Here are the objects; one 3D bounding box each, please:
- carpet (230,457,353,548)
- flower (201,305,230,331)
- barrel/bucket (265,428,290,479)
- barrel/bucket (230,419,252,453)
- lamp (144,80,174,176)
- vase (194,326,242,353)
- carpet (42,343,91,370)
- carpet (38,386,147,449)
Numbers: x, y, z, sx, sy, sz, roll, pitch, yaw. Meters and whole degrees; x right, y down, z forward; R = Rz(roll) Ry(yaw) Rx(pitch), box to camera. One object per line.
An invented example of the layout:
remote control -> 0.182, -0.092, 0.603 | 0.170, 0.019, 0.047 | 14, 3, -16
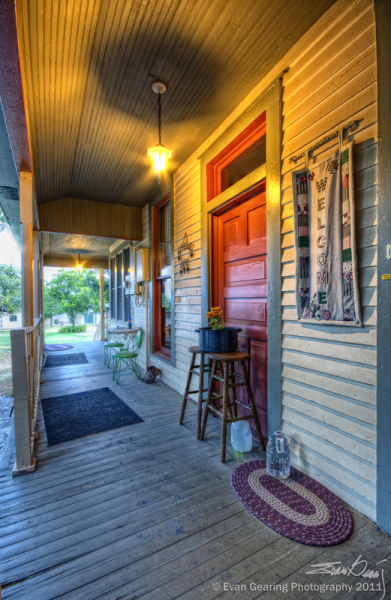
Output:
carpet -> 0.500, 1.066, 1.947 | 0.475, 0.017, 0.696 | -9, 12, -40
flower -> 0.158, 0.115, 2.815 | 0.148, 0.262, 0.180 | -1, 3, -30
barrel/bucket -> 0.499, 0.916, 2.162 | 0.104, 0.263, 0.132 | 2, 4, -13
barrel/bucket -> 0.316, 0.945, 2.504 | 0.173, 0.291, 0.172 | 0, -15, 0
lamp -> -0.287, -1.377, 2.833 | 0.127, 0.725, 0.156 | 3, -8, -26
vase -> 0.179, 0.299, 2.664 | 0.299, 0.180, 0.165 | -3, 3, 3
carpet -> -2.614, 1.091, 7.140 | 0.765, 0.159, 2.708 | -4, 3, -22
carpet -> -1.102, 1.083, 3.537 | 0.802, 0.010, 1.389 | -3, 1, -27
